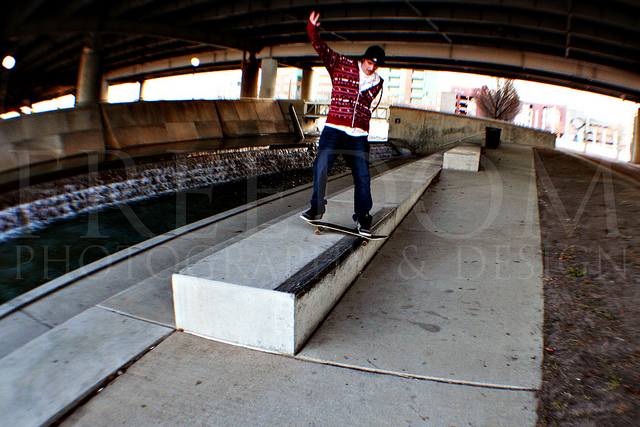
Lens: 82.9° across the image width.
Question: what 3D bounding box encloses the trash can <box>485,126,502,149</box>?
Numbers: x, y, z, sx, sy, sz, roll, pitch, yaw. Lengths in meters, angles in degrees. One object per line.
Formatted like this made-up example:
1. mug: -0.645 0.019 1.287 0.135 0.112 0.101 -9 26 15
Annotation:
1. trash can: 7.715 -3.390 16.332 0.652 0.908 0.930 9 16 20

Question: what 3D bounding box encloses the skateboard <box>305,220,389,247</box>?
1. skateboard: 0.373 0.178 4.220 1.263 0.126 0.264 12 9 11

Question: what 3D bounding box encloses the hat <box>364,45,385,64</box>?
1. hat: 0.608 -1.793 4.088 0.220 0.217 0.244 4 14 4

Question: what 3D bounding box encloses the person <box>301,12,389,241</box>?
1. person: 0.293 -0.915 4.205 1.138 2.578 0.785 8 18 12
